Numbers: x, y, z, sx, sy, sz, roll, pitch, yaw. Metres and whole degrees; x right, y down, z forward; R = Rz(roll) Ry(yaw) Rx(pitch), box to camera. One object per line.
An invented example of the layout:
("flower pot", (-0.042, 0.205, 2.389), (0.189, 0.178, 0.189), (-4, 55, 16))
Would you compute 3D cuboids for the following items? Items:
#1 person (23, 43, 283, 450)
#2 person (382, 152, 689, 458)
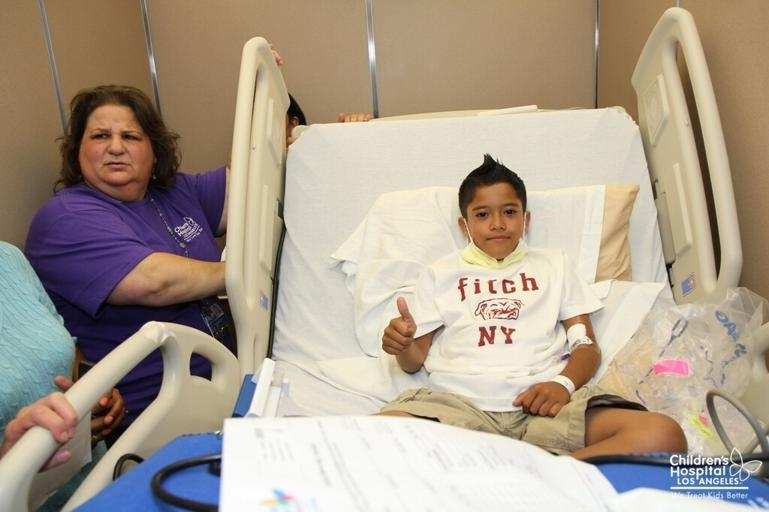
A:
("person", (-0.893, 0.123, 2.268), (1.064, 1.708, 0.755), (-2, 10, 9))
("person", (0.406, 0.198, 1.896), (0.956, 0.969, 0.789), (-1, -3, 2))
